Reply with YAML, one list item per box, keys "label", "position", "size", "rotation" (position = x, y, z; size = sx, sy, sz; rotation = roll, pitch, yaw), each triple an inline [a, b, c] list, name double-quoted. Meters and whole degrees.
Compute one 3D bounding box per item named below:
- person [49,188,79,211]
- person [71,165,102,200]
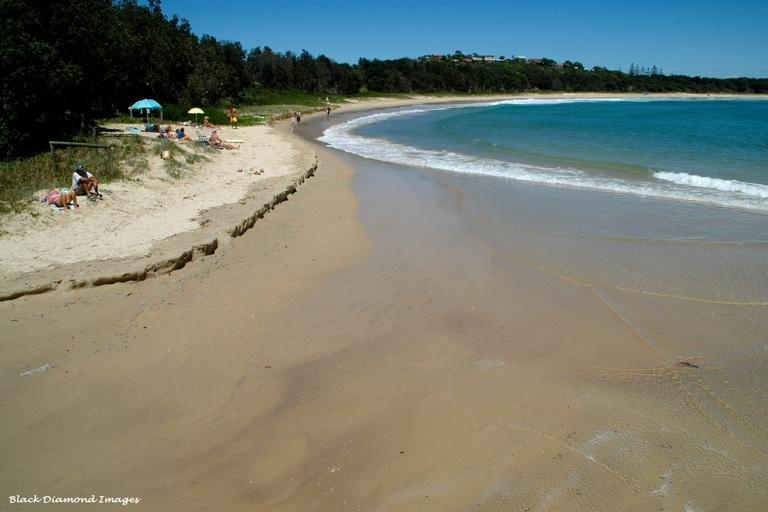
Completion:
- label: "person"
  position: [-8.852, -1.540, 15.127]
  size: [0.856, 0.296, 0.490]
  rotation: [7, 21, 26]
- label: "person"
  position: [-8.587, -2.127, 15.812]
  size: [0.712, 0.942, 0.700]
  rotation: [-9, 22, -23]
